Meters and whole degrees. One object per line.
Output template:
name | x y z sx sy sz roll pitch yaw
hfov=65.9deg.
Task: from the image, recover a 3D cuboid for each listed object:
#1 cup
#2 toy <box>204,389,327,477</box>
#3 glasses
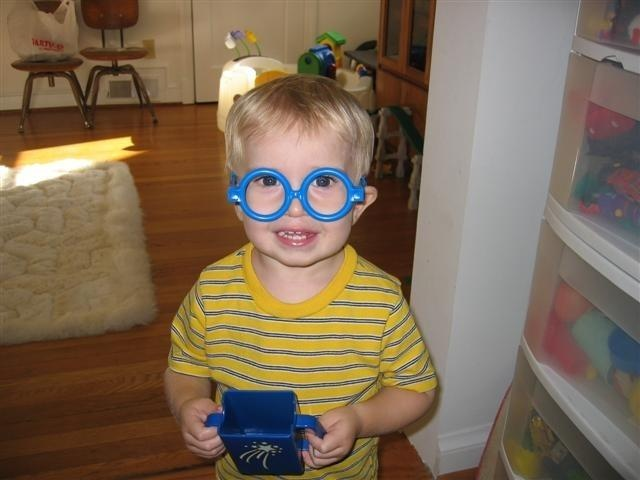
cup | -0.081 0.300 0.787 0.162 0.122 0.138 2 53 4
toy | -0.076 0.294 0.789 0.176 0.131 0.127 1 61 4
glasses | -0.047 -0.085 0.844 0.247 0.105 0.139 1 27 2
